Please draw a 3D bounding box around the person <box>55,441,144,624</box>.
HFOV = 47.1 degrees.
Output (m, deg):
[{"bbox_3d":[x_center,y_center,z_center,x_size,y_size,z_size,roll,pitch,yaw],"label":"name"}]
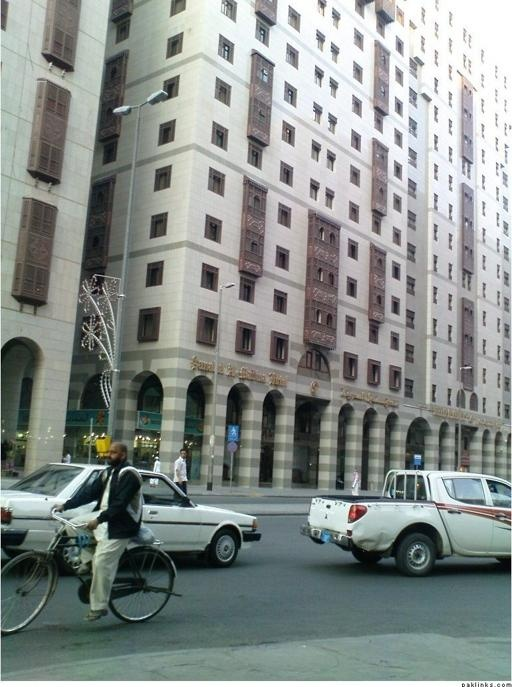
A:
[{"bbox_3d":[-1.451,1.754,5.616,0.613,1.597,0.457,2,-9,6],"label":"person"}]
